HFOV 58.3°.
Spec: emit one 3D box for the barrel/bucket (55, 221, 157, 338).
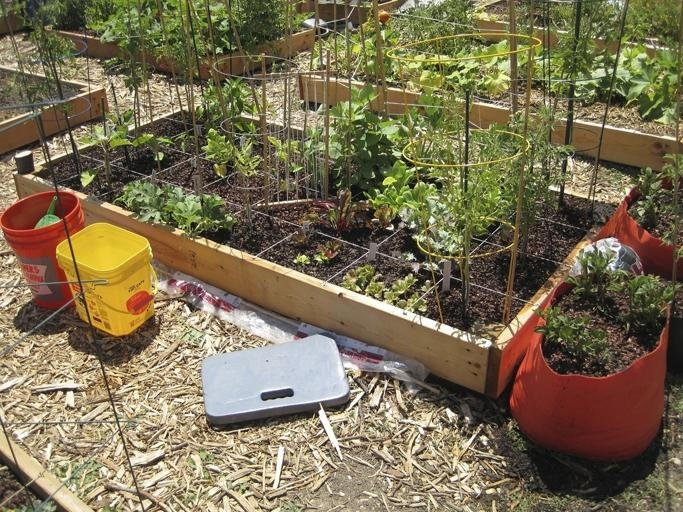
[{"bbox_3d":[-1.398,0.161,3.607,0.383,0.404,0.445,26,45,22],"label":"barrel/bucket"}]
